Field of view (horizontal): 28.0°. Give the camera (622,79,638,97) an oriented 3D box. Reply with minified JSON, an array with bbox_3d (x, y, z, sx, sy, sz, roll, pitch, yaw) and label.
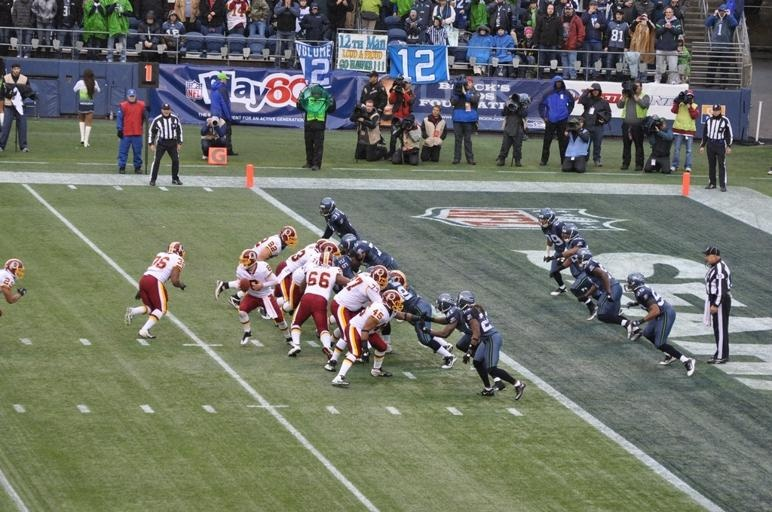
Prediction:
[{"bbox_3d":[7.366,-5.044,46.916,0.446,0.428,0.382,-3,10,-9],"label":"camera"}]

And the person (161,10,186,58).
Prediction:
[{"bbox_3d":[-7.119,-7.377,51.773,0.711,1.601,1.428,-2,10,-2],"label":"person"}]

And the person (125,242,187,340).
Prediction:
[{"bbox_3d":[-5.184,0.806,34.850,1.296,2.077,1.584,-3,10,-7],"label":"person"}]

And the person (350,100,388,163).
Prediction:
[{"bbox_3d":[-0.513,-3.800,47.046,1.004,1.940,1.295,-1,10,1],"label":"person"}]

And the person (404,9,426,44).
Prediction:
[{"bbox_3d":[0.880,-7.807,52.658,0.746,1.179,0.685,3,11,23],"label":"person"}]

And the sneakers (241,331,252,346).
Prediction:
[{"bbox_3d":[-3.099,1.847,34.720,0.156,0.262,0.416,15,26,11],"label":"sneakers"}]

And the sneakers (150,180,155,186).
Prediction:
[{"bbox_3d":[-6.413,-1.995,42.614,0.150,0.075,0.141,-4,-1,-23],"label":"sneakers"}]

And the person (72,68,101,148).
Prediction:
[{"bbox_3d":[-9.120,-4.543,47.391,0.612,2.351,1.436,-4,10,-11],"label":"person"}]

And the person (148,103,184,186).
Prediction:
[{"bbox_3d":[-6.150,-3.099,42.952,0.928,2.243,1.490,-3,10,-8],"label":"person"}]

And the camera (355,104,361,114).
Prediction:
[{"bbox_3d":[-0.829,-4.397,46.432,0.186,0.201,0.229,-2,12,-21],"label":"camera"}]

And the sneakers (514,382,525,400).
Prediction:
[{"bbox_3d":[2.875,2.892,33.362,0.266,0.442,0.158,6,27,4],"label":"sneakers"}]

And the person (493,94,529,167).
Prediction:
[{"bbox_3d":[3.856,-3.816,47.163,0.967,2.261,1.586,-1,10,4],"label":"person"}]

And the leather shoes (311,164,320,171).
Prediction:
[{"bbox_3d":[-2.071,-2.579,45.427,0.192,0.135,0.347,-1,-5,4],"label":"leather shoes"}]

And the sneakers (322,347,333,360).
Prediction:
[{"bbox_3d":[-1.278,2.134,34.071,0.186,0.366,0.146,-21,3,-17],"label":"sneakers"}]

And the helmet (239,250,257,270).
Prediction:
[{"bbox_3d":[-3.093,0.077,34.294,0.466,0.346,0.350,-16,18,-26],"label":"helmet"}]

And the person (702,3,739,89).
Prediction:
[{"bbox_3d":[11.391,-7.149,52.644,1.031,2.825,1.235,0,10,11],"label":"person"}]

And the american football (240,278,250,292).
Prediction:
[{"bbox_3d":[-3.116,0.680,34.330,0.218,0.282,0.166,-3,10,-6],"label":"american football"}]

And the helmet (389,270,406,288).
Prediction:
[{"bbox_3d":[0.248,0.548,34.357,0.393,0.358,0.309,-4,8,8],"label":"helmet"}]

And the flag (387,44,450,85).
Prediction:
[{"bbox_3d":[1.052,-6.314,51.093,2.239,1.329,0.193,4,16,30],"label":"flag"}]

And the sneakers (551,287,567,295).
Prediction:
[{"bbox_3d":[4.186,0.880,37.762,0.430,0.161,0.152,-9,28,-16],"label":"sneakers"}]

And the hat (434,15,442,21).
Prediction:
[{"bbox_3d":[1.741,-7.987,52.083,0.233,0.178,0.169,-11,16,-33],"label":"hat"}]

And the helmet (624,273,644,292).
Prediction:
[{"bbox_3d":[5.658,0.620,35.301,0.444,0.298,0.371,11,23,26],"label":"helmet"}]

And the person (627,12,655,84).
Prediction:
[{"bbox_3d":[8.544,-6.999,52.097,0.919,2.193,1.057,0,10,9],"label":"person"}]

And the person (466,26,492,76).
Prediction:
[{"bbox_3d":[3.155,-6.925,52.202,0.846,1.620,1.139,-1,10,4],"label":"person"}]

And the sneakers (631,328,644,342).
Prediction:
[{"bbox_3d":[5.696,1.859,35.429,0.160,0.438,0.208,34,50,13],"label":"sneakers"}]

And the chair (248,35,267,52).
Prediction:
[{"bbox_3d":[-4.379,-7.180,52.530,0.597,0.568,0.581,0,0,-5],"label":"chair"}]

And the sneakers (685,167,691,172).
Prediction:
[{"bbox_3d":[9.212,-2.615,47.237,0.188,0.162,0.496,-1,0,13],"label":"sneakers"}]

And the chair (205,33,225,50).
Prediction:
[{"bbox_3d":[-5.809,-7.235,52.406,0.622,0.586,0.596,0,-1,-4],"label":"chair"}]

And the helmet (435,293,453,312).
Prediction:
[{"bbox_3d":[1.251,1.056,33.659,0.410,0.310,0.326,6,8,10],"label":"helmet"}]

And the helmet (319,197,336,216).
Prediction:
[{"bbox_3d":[-1.494,-1.160,36.789,0.407,0.445,0.473,10,5,13],"label":"helmet"}]

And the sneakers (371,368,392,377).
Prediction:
[{"bbox_3d":[-0.097,2.592,33.937,0.477,0.178,0.169,-1,12,-4],"label":"sneakers"}]

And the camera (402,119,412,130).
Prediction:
[{"bbox_3d":[0.618,-3.927,46.299,0.241,0.275,0.118,0,9,13],"label":"camera"}]

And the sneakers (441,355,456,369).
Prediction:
[{"bbox_3d":[1.349,2.402,34.458,0.166,0.216,0.428,-14,38,51],"label":"sneakers"}]

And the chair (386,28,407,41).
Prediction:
[{"bbox_3d":[0.374,-7.554,52.900,0.577,0.464,0.463,4,52,0],"label":"chair"}]

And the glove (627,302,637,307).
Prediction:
[{"bbox_3d":[5.703,1.156,35.862,0.236,0.096,0.125,-2,4,-23],"label":"glove"}]

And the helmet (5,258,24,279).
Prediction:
[{"bbox_3d":[-8.102,0.289,33.933,0.487,0.377,0.365,14,6,-39],"label":"helmet"}]

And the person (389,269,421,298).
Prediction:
[{"bbox_3d":[0.269,0.719,34.298,0.508,0.707,0.344,-26,-18,-39],"label":"person"}]
